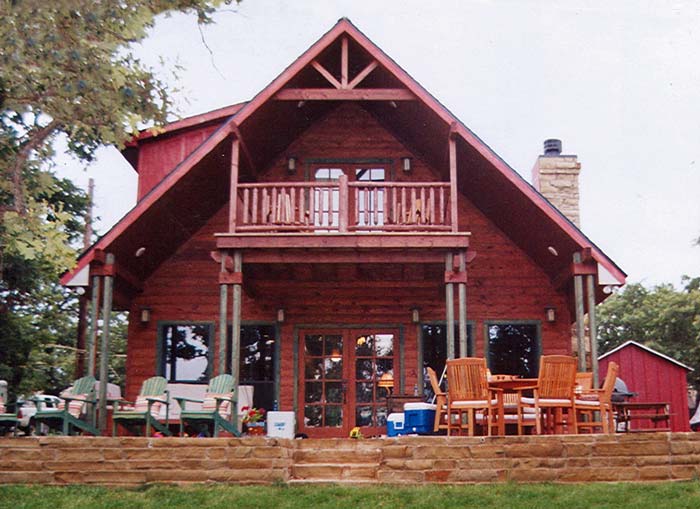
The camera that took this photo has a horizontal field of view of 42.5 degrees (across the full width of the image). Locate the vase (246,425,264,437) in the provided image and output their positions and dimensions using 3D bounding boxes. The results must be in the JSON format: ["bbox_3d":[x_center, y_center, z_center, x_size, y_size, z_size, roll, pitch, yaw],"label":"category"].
[{"bbox_3d":[-2.034,3.729,19.113,0.321,0.234,0.307,-9,-14,34],"label":"vase"}]

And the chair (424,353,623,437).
[{"bbox_3d":[3.121,2.684,16.577,3.267,1.412,2.767,2,-15,-5],"label":"chair"}]

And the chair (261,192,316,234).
[{"bbox_3d":[-1.334,-0.883,18.916,0.790,0.645,0.939,0,-3,-1],"label":"chair"}]

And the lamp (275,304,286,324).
[{"bbox_3d":[-1.551,1.325,20.339,0.281,0.447,0.290,0,-15,4],"label":"lamp"}]

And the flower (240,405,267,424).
[{"bbox_3d":[-2.037,3.353,19.007,0.515,0.266,0.285,-3,1,-29],"label":"flower"}]

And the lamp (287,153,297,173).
[{"bbox_3d":[-1.363,-2.127,21.060,0.316,0.557,0.313,-1,-2,-4],"label":"lamp"}]

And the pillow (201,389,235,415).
[{"bbox_3d":[-2.455,2.734,16.744,0.563,0.502,1.445,2,-15,-7],"label":"pillow"}]

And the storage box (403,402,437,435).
[{"bbox_3d":[1.413,3.103,18.045,0.505,0.629,0.916,-3,-9,17],"label":"storage box"}]

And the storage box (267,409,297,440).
[{"bbox_3d":[-1.353,3.429,18.291,0.665,0.672,0.671,1,-9,-25],"label":"storage box"}]

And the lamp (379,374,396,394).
[{"bbox_3d":[0.836,2.896,20.259,0.352,0.625,0.374,-4,-8,28],"label":"lamp"}]

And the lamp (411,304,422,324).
[{"bbox_3d":[1.483,1.322,20.384,0.195,0.408,0.204,-2,-14,9],"label":"lamp"}]

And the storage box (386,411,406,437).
[{"bbox_3d":[0.932,3.431,18.284,0.478,0.479,0.350,0,-15,5],"label":"storage box"}]

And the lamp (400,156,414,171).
[{"bbox_3d":[1.337,-2.137,21.106,0.291,0.563,0.298,1,-1,5],"label":"lamp"}]

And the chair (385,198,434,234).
[{"bbox_3d":[1.246,-0.801,18.795,0.724,0.519,0.743,0,-4,-10],"label":"chair"}]

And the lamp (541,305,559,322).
[{"bbox_3d":[4.509,1.334,20.315,0.318,0.484,0.324,0,-1,5],"label":"lamp"}]

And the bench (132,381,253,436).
[{"bbox_3d":[-2.600,2.755,16.604,0.843,1.157,1.193,0,-9,14],"label":"bench"}]
